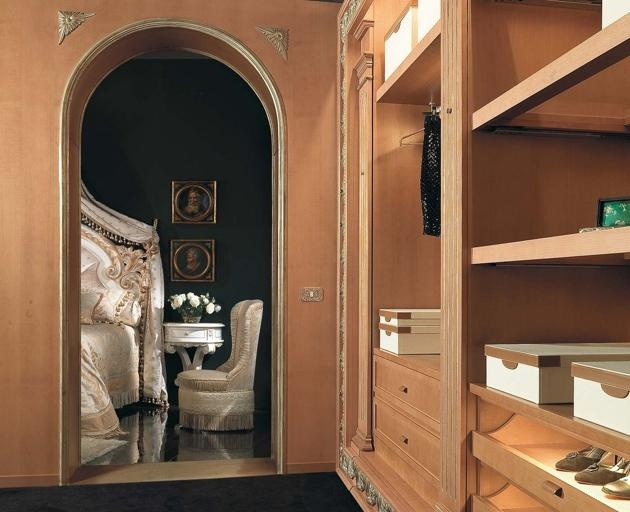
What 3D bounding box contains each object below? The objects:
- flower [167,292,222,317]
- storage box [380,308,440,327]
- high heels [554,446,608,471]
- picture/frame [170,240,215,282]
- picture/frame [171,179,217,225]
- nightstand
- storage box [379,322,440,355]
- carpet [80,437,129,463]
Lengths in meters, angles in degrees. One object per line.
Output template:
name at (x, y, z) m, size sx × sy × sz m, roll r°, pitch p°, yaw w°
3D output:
flower at (-1.187, 0.489, 6.151) m, size 0.290 × 0.196 × 0.331 m, roll 2°, pitch -6°, yaw 43°
storage box at (0.467, 0.315, 3.131) m, size 0.344 × 0.083 × 0.258 m, roll 0°, pitch -2°, yaw 20°
high heels at (0.820, 0.632, 1.903) m, size 0.191 × 0.063 × 0.066 m, roll -6°, pitch -4°, yaw -35°
picture/frame at (-1.250, 0.064, 6.358) m, size 0.390 × 0.418 × 0.033 m, roll 0°, pitch -4°, yaw -7°
picture/frame at (-1.238, -0.548, 6.371) m, size 0.416 × 0.431 × 0.049 m, roll -1°, pitch -5°, yaw -1°
nightstand at (-1.247, 0.982, 6.261) m, size 0.633 × 0.760 × 0.629 m, roll 3°, pitch 6°, yaw -4°
storage box at (0.464, 0.383, 3.116) m, size 0.211 × 0.113 × 0.156 m, roll 1°, pitch -5°, yaw -13°
carpet at (-1.535, 1.400, 4.481) m, size 0.318 × 0.052 × 0.530 m, roll 1°, pitch -2°, yaw -20°
